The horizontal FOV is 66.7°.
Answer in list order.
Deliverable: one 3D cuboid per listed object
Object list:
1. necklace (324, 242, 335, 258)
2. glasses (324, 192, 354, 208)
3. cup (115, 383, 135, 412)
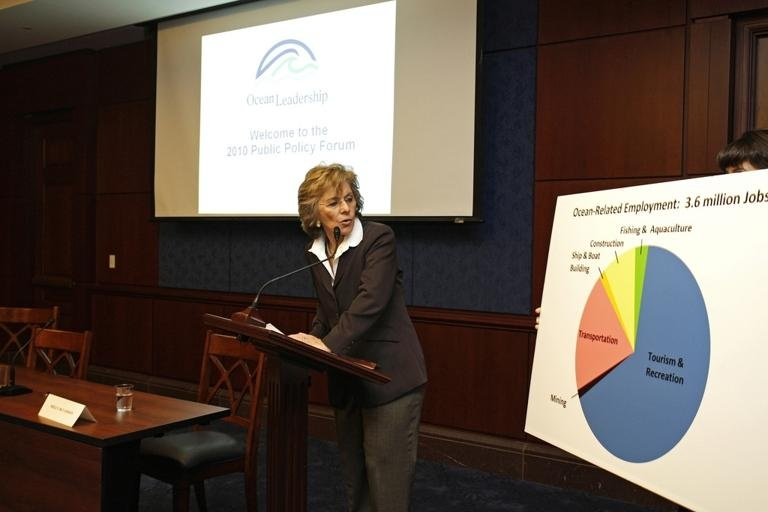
[{"bbox_3d":[-0.278,-0.042,2.993,0.053,0.084,0.018,-18,0,41],"label":"necklace"},{"bbox_3d":[-0.222,-0.282,2.886,0.151,0.068,0.051,-3,4,-23],"label":"glasses"},{"bbox_3d":[-1.388,0.760,3.091,0.092,0.136,0.126,-1,-10,3],"label":"cup"}]
